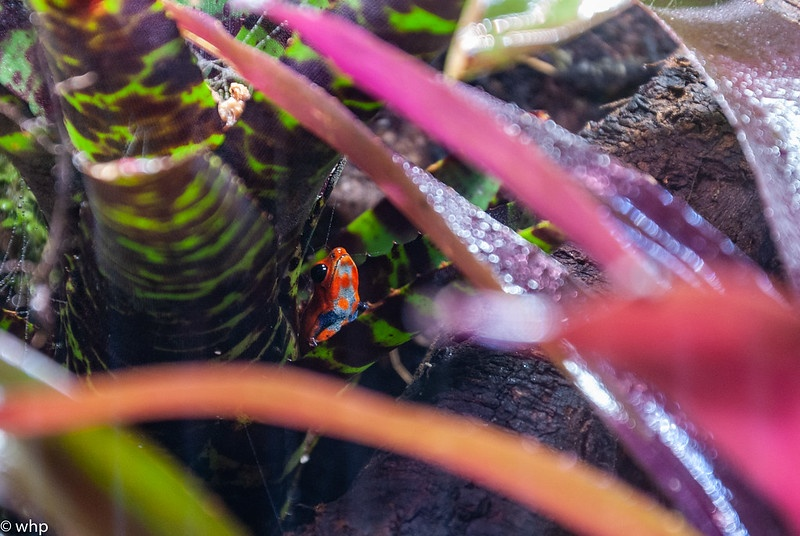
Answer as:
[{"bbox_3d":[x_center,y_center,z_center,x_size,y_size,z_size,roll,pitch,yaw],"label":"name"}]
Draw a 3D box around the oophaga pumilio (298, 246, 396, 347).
[{"bbox_3d":[-0.071,0.033,0.932,0.091,0.121,0.047,-13,51,-46],"label":"oophaga pumilio"}]
